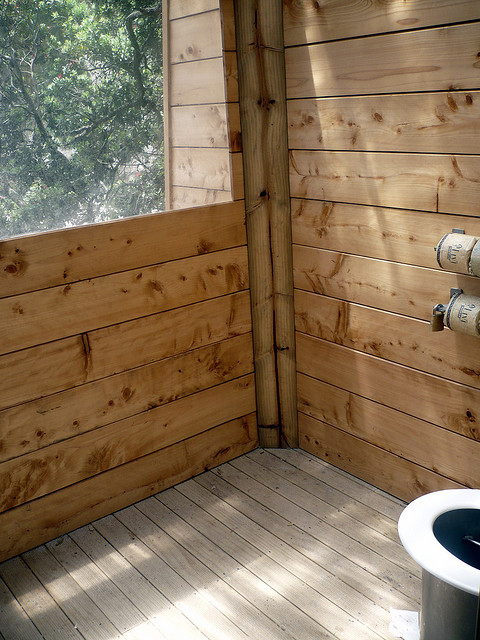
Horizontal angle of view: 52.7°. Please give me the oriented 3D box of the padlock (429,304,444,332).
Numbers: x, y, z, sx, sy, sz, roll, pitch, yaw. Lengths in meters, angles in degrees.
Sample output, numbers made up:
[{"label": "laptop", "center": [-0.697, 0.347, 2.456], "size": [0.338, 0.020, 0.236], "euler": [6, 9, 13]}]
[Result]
[{"label": "padlock", "center": [0.525, 0.000, 1.287], "size": [0.030, 0.097, 0.140], "euler": [1, 15, 19]}]

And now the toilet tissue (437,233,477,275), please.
[{"label": "toilet tissue", "center": [0.511, -0.163, 1.157], "size": [0.075, 0.091, 0.082], "euler": [-14, 24, -42]}]
